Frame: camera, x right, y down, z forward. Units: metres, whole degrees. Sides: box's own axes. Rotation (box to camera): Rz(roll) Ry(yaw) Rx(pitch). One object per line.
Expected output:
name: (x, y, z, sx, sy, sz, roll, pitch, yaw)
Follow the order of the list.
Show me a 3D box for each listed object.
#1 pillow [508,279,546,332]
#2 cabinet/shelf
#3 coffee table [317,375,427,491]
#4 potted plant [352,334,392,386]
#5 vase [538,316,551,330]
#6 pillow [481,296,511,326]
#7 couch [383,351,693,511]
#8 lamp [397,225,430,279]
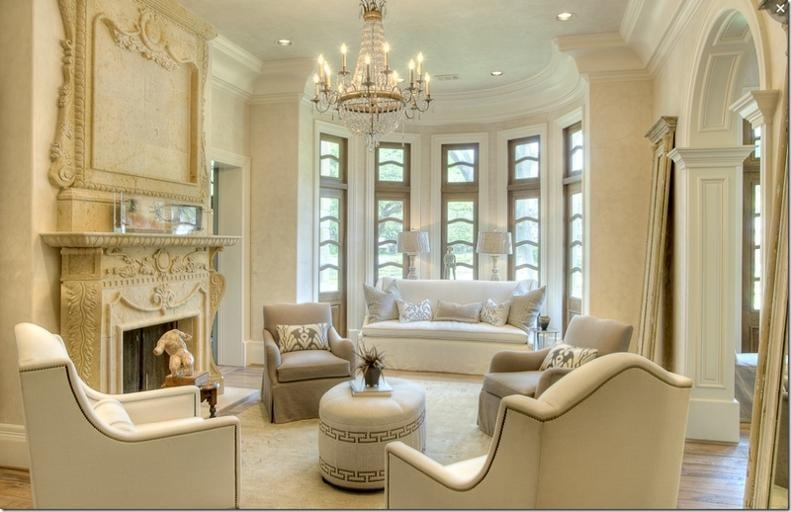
pillow: (1.697, 0.656, 8.018, 0.316, 0.548, 0.600, -1, -11, -29)
cabinet/shelf: (-2.447, 0.530, 5.821, 0.578, 1.637, 1.932, -2, -3, 18)
coffee table: (-0.213, 1.494, 5.206, 0.797, 0.534, 0.797, -1, -2, 4)
potted plant: (-0.246, 0.989, 5.781, 0.467, 0.481, 0.535, 0, -1, -1)
vase: (1.799, 0.811, 7.476, 0.166, 0.174, 0.181, 2, 3, 3)
pillow: (1.299, 0.767, 8.181, 0.273, 0.359, 0.523, 1, -8, -32)
couch: (0.975, 1.154, 4.002, 1.846, 0.998, 0.618, -3, -1, 15)
lamp: (0.289, -0.043, 9.186, 0.477, 0.711, 0.660, -2, -1, 3)
